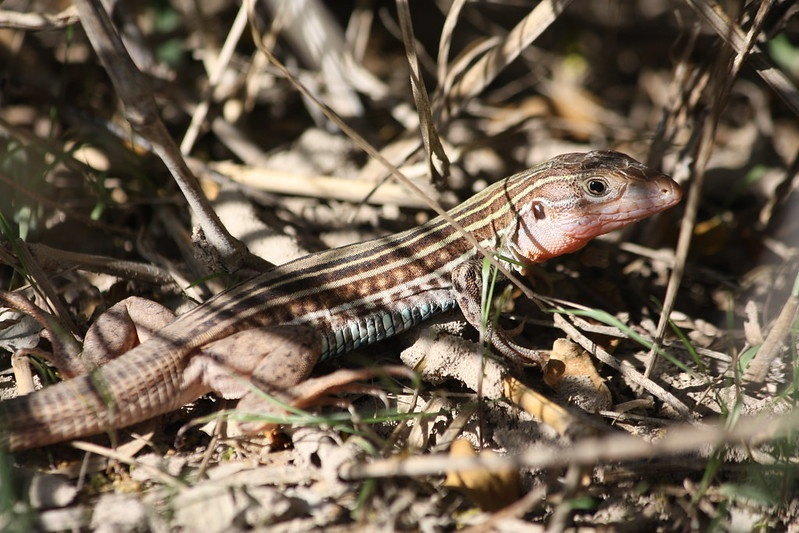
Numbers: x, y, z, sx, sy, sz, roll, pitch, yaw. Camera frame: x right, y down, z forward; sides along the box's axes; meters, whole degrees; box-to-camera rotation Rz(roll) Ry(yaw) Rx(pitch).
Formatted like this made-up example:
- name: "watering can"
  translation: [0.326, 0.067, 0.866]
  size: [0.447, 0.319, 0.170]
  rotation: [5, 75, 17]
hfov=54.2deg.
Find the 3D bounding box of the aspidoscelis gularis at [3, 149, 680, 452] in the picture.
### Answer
- name: "aspidoscelis gularis"
  translation: [-0.329, 0.196, 4.326]
  size: [3.586, 0.840, 0.972]
  rotation: [-25, 56, -4]
